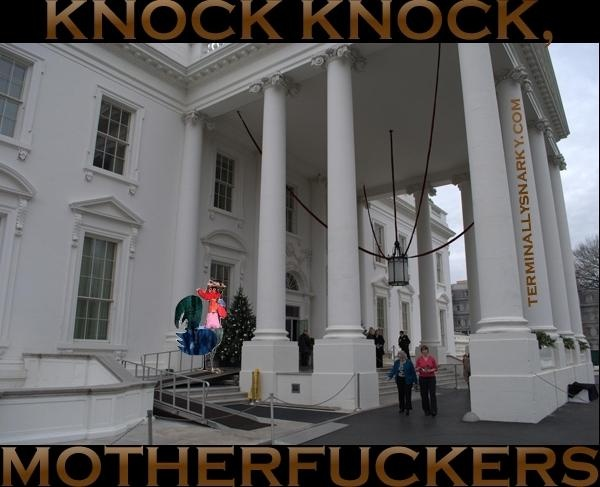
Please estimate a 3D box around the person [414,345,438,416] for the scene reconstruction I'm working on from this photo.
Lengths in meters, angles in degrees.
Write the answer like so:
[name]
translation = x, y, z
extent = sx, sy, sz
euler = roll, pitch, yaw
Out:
[person]
translation = 3.163, 3.422, 10.422
extent = 0.492, 1.623, 1.637
euler = -6, -15, 15
